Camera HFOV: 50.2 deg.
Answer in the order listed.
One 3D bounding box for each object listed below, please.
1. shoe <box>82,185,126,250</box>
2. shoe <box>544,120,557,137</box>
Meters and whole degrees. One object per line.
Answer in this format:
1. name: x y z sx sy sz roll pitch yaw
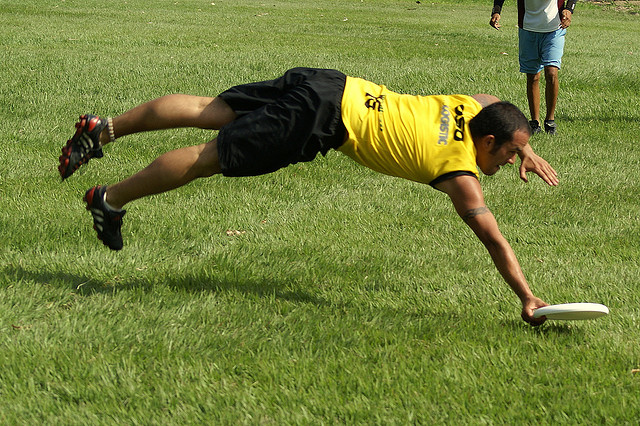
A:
1. shoe: -1.800 0.040 5.693 0.312 0.547 0.193 15 25 33
2. shoe: 3.459 -1.298 10.337 0.134 0.194 0.245 3 19 3
